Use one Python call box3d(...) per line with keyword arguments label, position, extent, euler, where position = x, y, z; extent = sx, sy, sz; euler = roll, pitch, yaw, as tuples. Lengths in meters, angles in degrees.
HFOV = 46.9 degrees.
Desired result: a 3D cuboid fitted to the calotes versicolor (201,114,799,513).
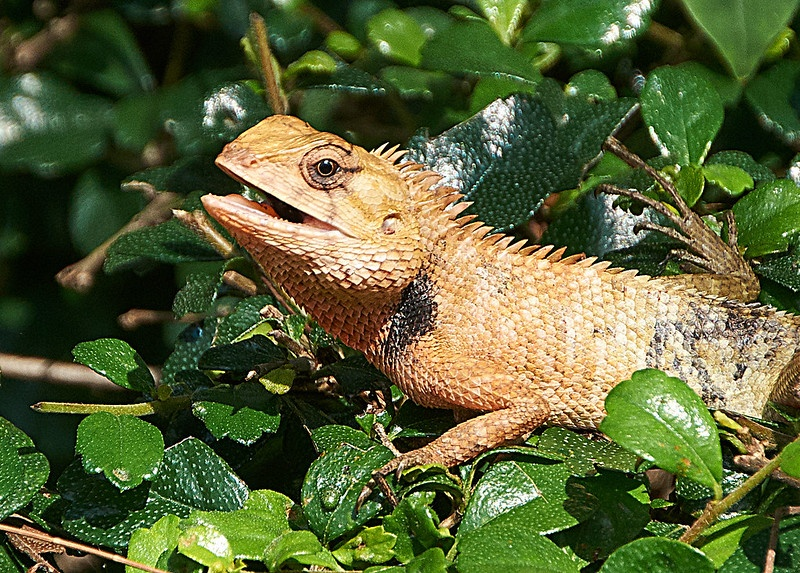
box3d(label="calotes versicolor", position=(0.224, 0.090, 2.348), extent=(1.557, 0.357, 0.654), euler=(22, 85, 5))
